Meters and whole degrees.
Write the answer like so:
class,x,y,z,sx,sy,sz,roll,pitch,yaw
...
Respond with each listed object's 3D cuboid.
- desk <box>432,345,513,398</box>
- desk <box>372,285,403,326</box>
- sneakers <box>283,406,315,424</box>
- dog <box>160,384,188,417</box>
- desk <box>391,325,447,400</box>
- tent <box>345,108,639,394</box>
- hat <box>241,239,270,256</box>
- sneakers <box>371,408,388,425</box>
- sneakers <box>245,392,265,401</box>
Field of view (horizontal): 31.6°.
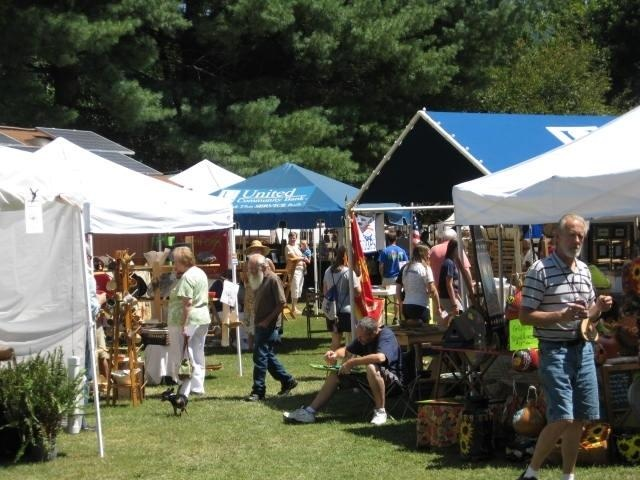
class,x,y,z,sx,sy,sz,roll,pitch,yaw
desk,2.197,1.883,16.722,0.810,0.716,0.808,-6,-2,43
desk,1.384,1.389,23.479,0.829,0.896,0.878,0,3,20
sneakers,-0.303,2.680,17.318,0.452,0.223,0.213,7,-8,-16
dog,-2.260,2.525,17.716,0.458,0.396,0.164,6,-2,24
desk,1.487,1.848,17.951,0.580,0.664,0.661,-15,-9,44
tent,2.714,0.266,17.484,4.996,2.979,4.930,-3,3,-39
hat,-1.229,0.123,22.315,0.373,0.183,0.398,1,-21,1
sneakers,0.915,2.686,17.148,0.171,0.162,0.370,-2,-8,6
sneakers,-1.043,2.571,18.436,0.310,0.156,0.118,-4,2,-1
